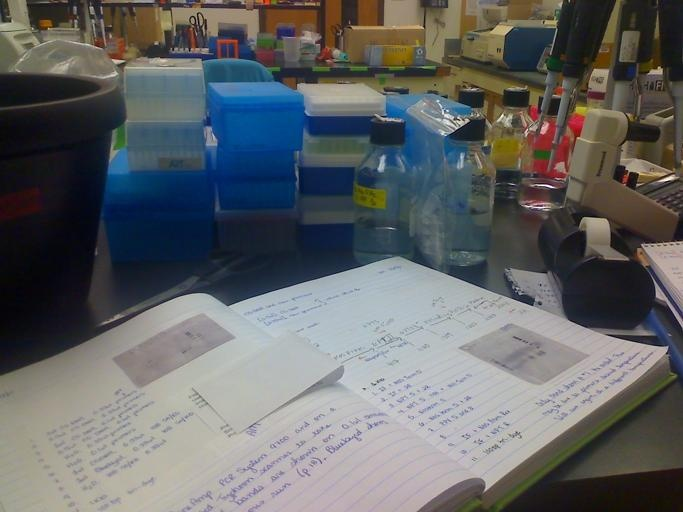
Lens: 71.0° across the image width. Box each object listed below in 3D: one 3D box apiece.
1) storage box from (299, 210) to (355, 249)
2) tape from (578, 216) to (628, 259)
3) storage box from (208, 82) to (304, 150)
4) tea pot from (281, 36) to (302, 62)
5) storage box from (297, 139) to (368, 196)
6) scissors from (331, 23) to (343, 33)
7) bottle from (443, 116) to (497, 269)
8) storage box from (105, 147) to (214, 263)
[{"bbox_3d":[-0.018,-0.046,0.740,0.106,0.073,0.058,-2,18,-7],"label":"storage box"},{"bbox_3d":[0.341,-0.015,0.626,0.048,0.042,0.094,8,29,15],"label":"tape"},{"bbox_3d":[-0.134,-0.225,0.762,0.146,0.081,0.168,-7,29,-14],"label":"storage box"},{"bbox_3d":[-0.330,-1.535,3.556,0.148,0.172,0.180,12,34,14],"label":"tea pot"},{"bbox_3d":[-0.021,-0.144,0.754,0.110,0.080,0.080,-3,25,-7],"label":"storage box"},{"bbox_3d":[-0.037,-2.152,4.519,0.104,0.077,0.062,-4,28,-8],"label":"scissors"},{"bbox_3d":[0.205,-0.102,0.740,0.072,0.221,0.112,18,32,32],"label":"bottle"},{"bbox_3d":[-0.294,-0.088,0.816,0.166,0.130,0.171,-2,27,-8],"label":"storage box"}]
